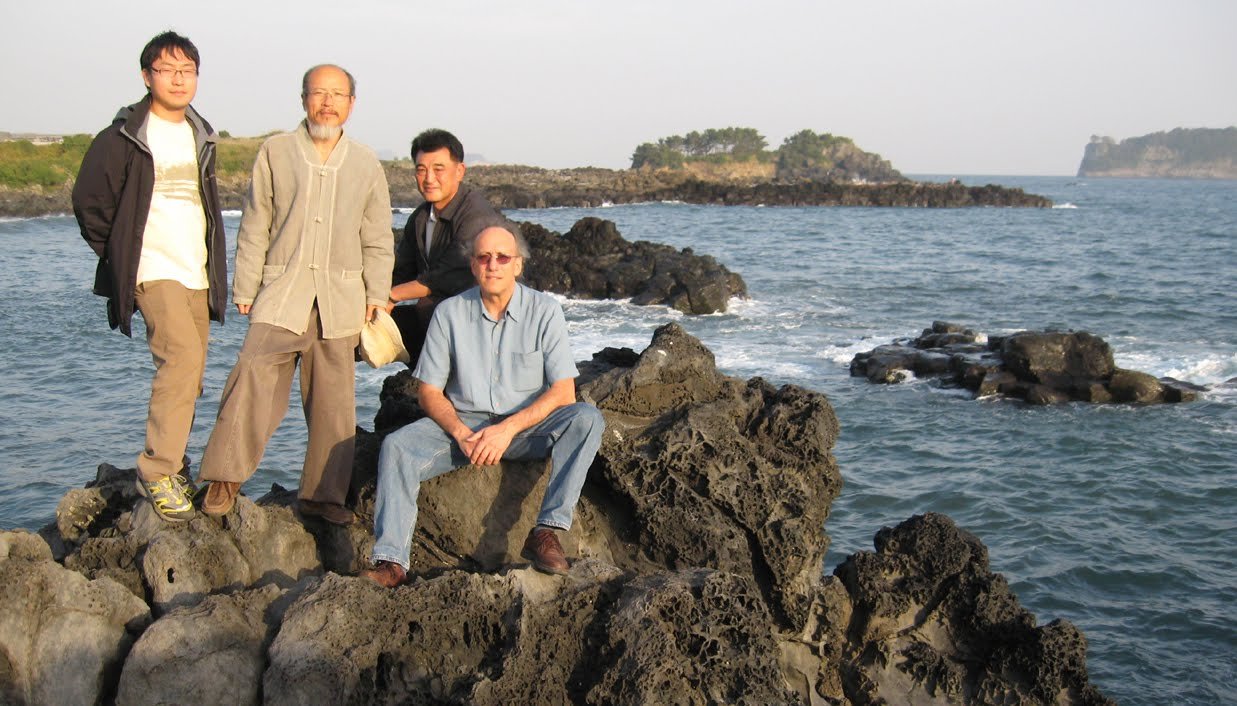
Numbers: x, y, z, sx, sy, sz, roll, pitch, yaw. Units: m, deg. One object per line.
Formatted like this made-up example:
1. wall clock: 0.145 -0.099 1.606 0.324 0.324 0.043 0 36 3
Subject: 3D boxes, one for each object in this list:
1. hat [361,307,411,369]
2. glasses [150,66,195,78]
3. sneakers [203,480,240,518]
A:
1. hat: -2.411 -0.178 11.783 0.648 0.710 0.382 -5 12 -17
2. glasses: -4.313 -2.749 10.991 0.366 0.102 0.034 1 12 -15
3. sneakers: -3.915 1.462 11.147 0.264 0.437 0.181 6 -1 -8
